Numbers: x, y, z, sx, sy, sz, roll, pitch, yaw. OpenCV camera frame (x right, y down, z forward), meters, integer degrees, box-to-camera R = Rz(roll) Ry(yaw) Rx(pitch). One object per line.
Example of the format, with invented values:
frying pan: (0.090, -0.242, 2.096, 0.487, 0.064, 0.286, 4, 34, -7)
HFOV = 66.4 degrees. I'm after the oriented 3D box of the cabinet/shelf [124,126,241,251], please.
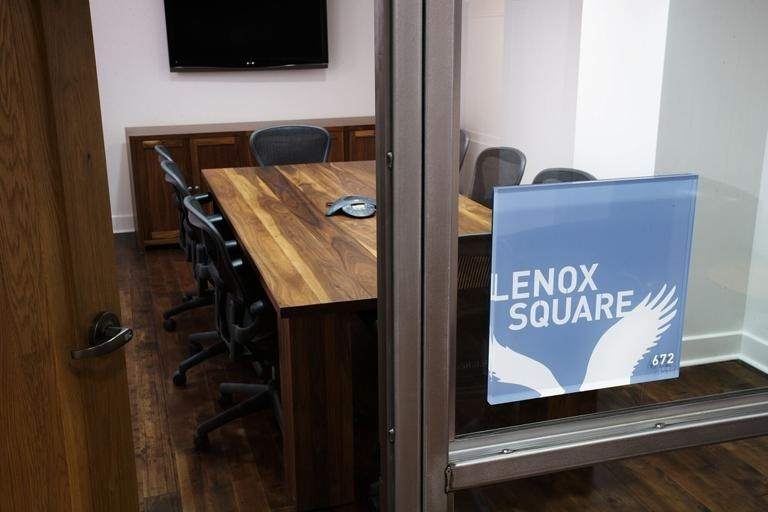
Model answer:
cabinet/shelf: (-1.787, -0.611, 5.702, 1.064, 1.015, 0.620, -6, -3, -7)
